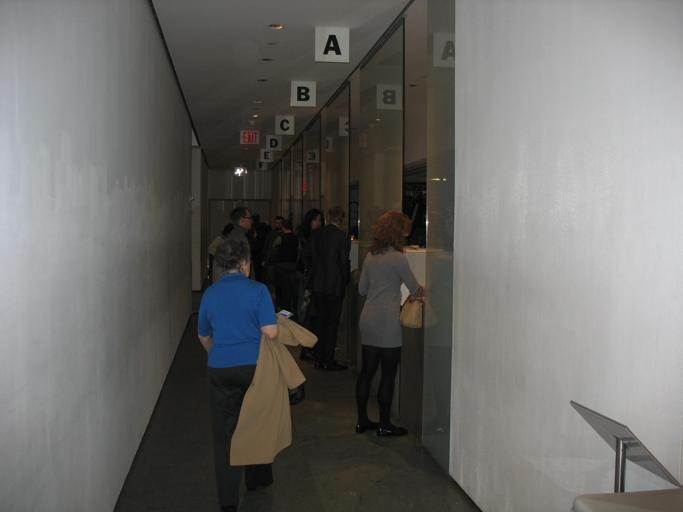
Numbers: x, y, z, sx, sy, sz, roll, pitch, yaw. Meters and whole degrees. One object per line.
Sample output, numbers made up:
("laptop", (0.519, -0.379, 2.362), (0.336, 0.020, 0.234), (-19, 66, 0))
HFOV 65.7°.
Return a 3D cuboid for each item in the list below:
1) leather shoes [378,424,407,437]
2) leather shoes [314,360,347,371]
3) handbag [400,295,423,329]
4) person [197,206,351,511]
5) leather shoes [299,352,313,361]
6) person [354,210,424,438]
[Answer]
("leather shoes", (0.475, 1.647, 4.987), (0.232, 0.107, 0.126), (-3, 2, -13))
("leather shoes", (-0.152, 1.492, 7.404), (0.447, 0.228, 0.164), (-1, -2, -3))
("handbag", (0.617, 0.493, 4.636), (0.136, 0.296, 0.298), (4, 1, -14))
("person", (-0.692, 0.837, 3.913), (0.653, 1.965, 0.974), (-2, 6, -10))
("leather shoes", (-0.519, 1.493, 7.915), (0.156, 0.135, 0.096), (15, -11, -16))
("person", (0.423, 0.659, 4.867), (0.667, 2.103, 0.403), (1, 6, 18))
